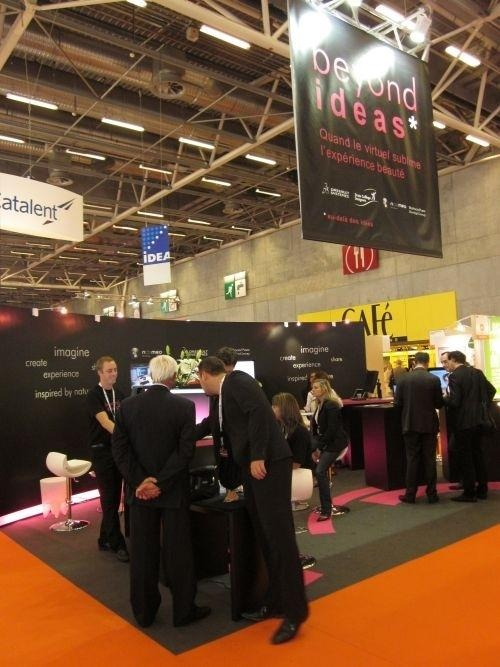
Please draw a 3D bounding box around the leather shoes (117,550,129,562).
[{"bbox_3d":[-0.861,1.495,3.546,0.042,0.043,0.112,4,-1,-15],"label":"leather shoes"}]

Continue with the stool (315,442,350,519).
[{"bbox_3d":[0.675,1.209,4.471,0.376,0.606,0.291,0,-4,-44],"label":"stool"}]

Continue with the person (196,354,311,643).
[{"bbox_3d":[0.041,0.726,2.557,0.289,1.251,0.569,-2,-3,-33],"label":"person"}]

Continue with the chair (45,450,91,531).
[{"bbox_3d":[-1.559,1.344,4.528,0.380,0.609,0.380,-6,-8,23],"label":"chair"}]

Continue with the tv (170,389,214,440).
[{"bbox_3d":[-0.569,0.712,4.547,0.258,0.450,0.492,-10,-15,39],"label":"tv"}]

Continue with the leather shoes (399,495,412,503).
[{"bbox_3d":[1.411,1.490,4.770,0.040,0.083,0.118,0,3,-21],"label":"leather shoes"}]

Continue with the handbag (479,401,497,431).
[{"bbox_3d":[2.234,0.744,4.900,0.088,0.219,0.676,-5,-2,27],"label":"handbag"}]
